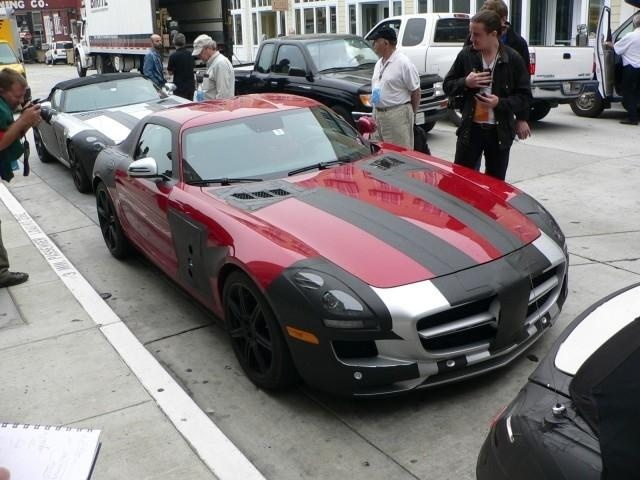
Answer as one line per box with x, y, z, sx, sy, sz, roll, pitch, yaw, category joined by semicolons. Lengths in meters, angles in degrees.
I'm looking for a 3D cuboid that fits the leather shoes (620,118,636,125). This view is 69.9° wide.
7.300;-2.821;10.924;0.338;0.130;0.122;18;39;38;leather shoes

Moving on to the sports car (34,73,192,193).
-4.050;-2.466;9.387;2.872;1.509;5.397;-26;35;-37;sports car

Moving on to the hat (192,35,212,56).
-2.347;-3.925;9.215;0.383;0.393;0.540;-6;18;-12;hat

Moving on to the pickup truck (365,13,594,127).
3.701;-4.903;12.724;3.366;2.299;6.457;-19;32;-34;pickup truck

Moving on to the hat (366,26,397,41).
0.840;-2.697;6.015;0.277;0.211;0.335;-2;18;-1;hat
